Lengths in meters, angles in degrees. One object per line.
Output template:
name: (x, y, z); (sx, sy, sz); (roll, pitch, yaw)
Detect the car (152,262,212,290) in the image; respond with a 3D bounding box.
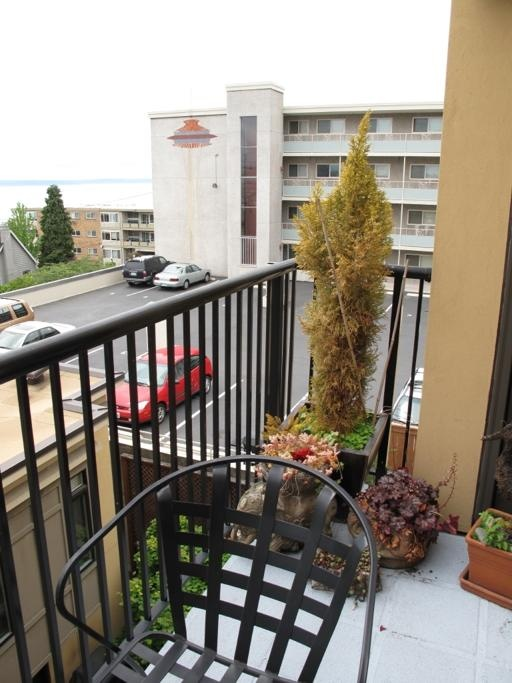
car: (-3.572, -3.229, 25.334); (1.177, 0.959, 2.990); (2, 7, 24)

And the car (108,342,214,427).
car: (-2.074, 0.866, 11.508); (1.395, 1.119, 2.699); (10, 21, 31)

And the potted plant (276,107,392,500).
potted plant: (0.378, -0.276, 2.238); (0.429, 1.353, 0.369); (-2, 9, 9)
